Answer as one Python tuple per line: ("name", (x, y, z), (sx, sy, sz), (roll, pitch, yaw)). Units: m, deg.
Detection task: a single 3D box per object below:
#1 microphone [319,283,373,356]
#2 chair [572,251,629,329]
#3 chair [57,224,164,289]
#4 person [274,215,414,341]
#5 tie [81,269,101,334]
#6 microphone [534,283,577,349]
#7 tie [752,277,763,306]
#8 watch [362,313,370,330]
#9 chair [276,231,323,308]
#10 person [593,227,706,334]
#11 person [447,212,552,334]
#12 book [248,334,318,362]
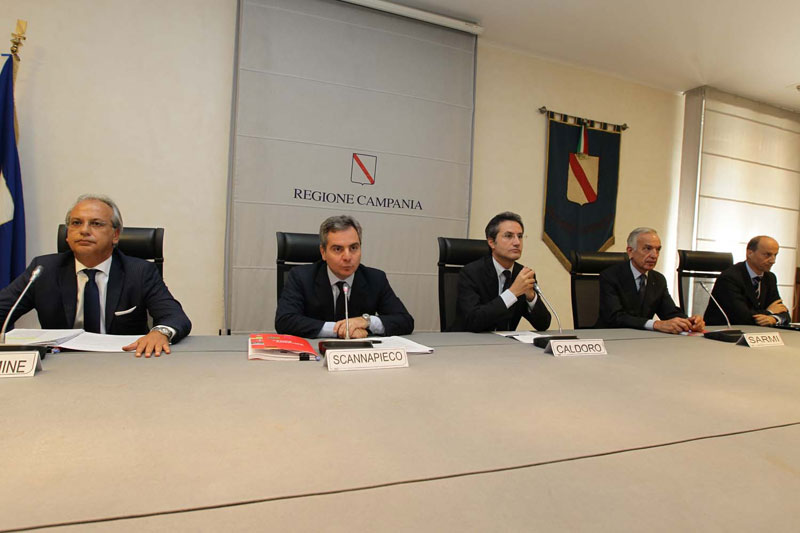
("microphone", (-0.237, 0.218, 2.836), (0.161, 0.293, 0.254), (0, 29, -5))
("chair", (1.509, 0.258, 4.425), (0.337, 0.603, 0.374), (8, -3, -34))
("chair", (-1.833, -0.116, 3.822), (0.409, 0.567, 0.501), (0, -18, -12))
("person", (-0.418, 0.052, 3.913), (0.843, 1.344, 0.723), (1, -22, -13))
("tie", (-1.689, 0.177, 3.187), (0.118, 0.368, 0.075), (2, 0, 41))
("microphone", (0.814, 0.275, 3.138), (0.192, 0.312, 0.169), (-8, -1, -44))
("tie", (2.871, 0.196, 4.700), (0.146, 0.212, 0.051), (-1, 3, -10))
("watch", (-0.188, 0.301, 3.316), (0.024, 0.064, 0.056), (-5, -6, 8))
("chair", (-0.677, -0.022, 4.046), (0.387, 0.731, 0.391), (0, -3, -17))
("person", (1.773, 0.174, 4.202), (0.639, 0.878, 0.818), (4, -1, -44))
("person", (0.677, 0.027, 3.786), (0.610, 0.740, 0.572), (2, 0, -1))
("book", (-0.565, 0.392, 2.822), (0.329, 0.121, 0.180), (2, -1, -9))
